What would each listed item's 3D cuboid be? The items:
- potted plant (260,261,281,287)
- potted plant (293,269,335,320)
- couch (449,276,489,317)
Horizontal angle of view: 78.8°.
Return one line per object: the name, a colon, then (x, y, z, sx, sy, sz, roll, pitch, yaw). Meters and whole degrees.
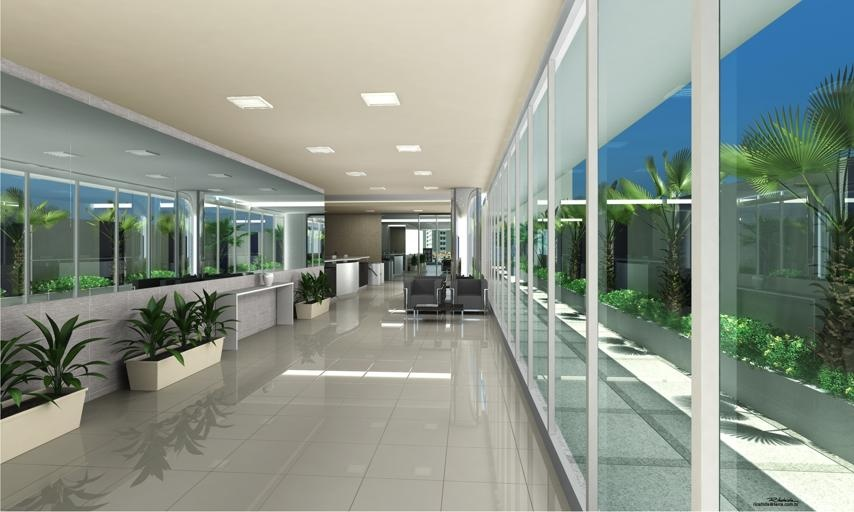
potted plant: (-3.101, 0.340, 10.258, 0.381, 0.438, 0.396, 6, 8, 40)
potted plant: (-2.579, 0.870, 11.758, 0.370, 0.648, 1.082, 1, -1, 9)
couch: (0.957, 0.926, 11.720, 0.726, 0.791, 1.537, 1, 7, 4)
